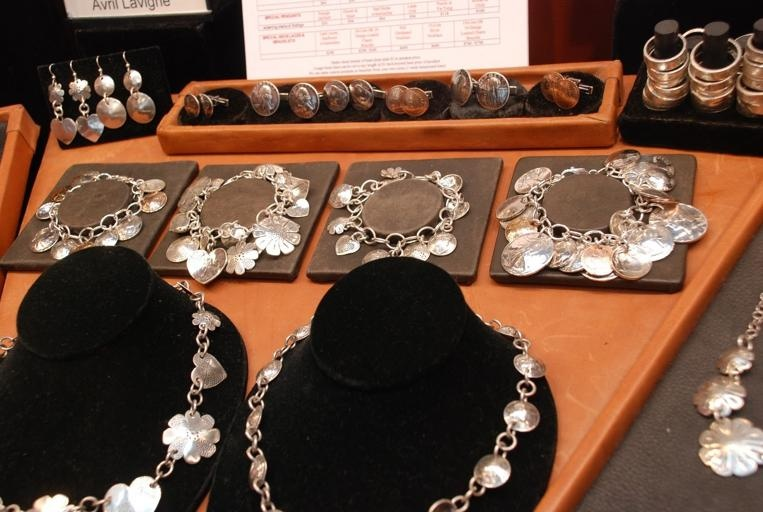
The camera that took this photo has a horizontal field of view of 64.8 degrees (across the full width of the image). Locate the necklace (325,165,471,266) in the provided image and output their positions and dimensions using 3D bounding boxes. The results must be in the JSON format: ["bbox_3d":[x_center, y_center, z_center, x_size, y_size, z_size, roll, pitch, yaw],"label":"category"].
[{"bbox_3d":[0.028,-0.085,1.137,0.210,0.025,0.197,-1,51,25],"label":"necklace"}]

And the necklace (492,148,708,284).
[{"bbox_3d":[0.380,-0.070,1.061,0.340,0.107,0.285,7,45,11],"label":"necklace"}]

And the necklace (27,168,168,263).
[{"bbox_3d":[-0.606,-0.087,1.263,0.286,0.054,0.246,12,46,16],"label":"necklace"}]
